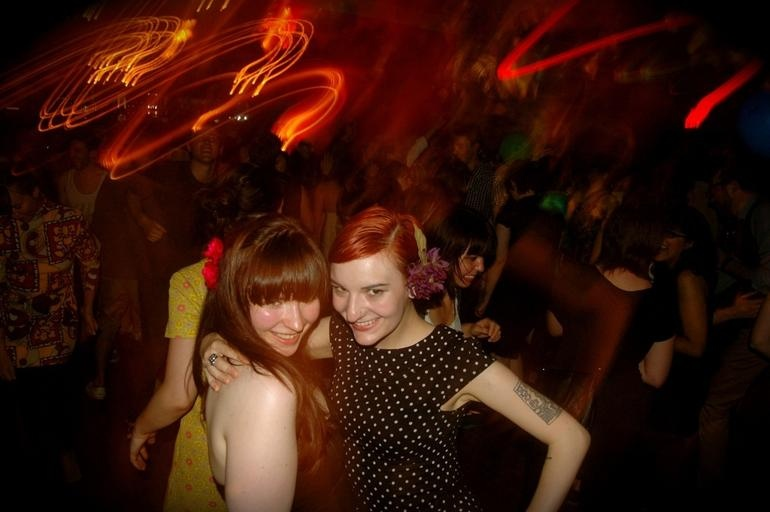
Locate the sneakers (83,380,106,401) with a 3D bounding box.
[{"bbox_3d":[-3.850,1.802,7.825,0.184,0.175,0.271,26,3,-23],"label":"sneakers"}]
